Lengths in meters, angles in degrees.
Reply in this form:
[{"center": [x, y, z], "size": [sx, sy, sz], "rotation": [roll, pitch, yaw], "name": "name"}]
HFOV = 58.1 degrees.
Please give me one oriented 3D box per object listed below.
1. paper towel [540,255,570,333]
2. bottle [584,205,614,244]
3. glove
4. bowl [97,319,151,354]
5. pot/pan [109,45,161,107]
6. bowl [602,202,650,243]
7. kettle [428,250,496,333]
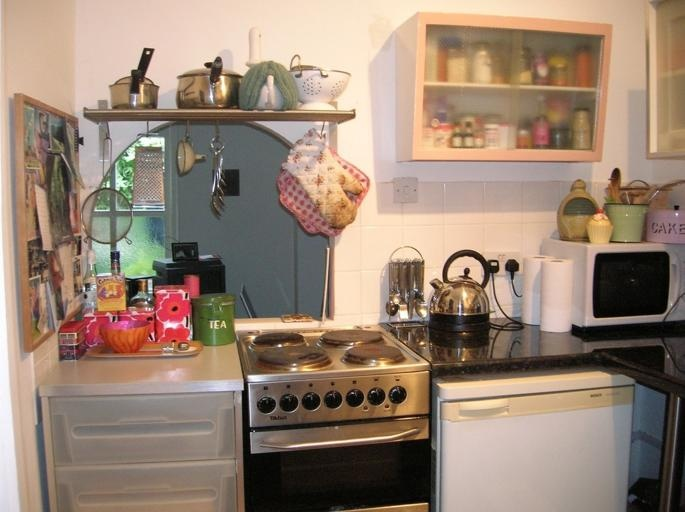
[{"center": [0.957, 0.185, 2.776], "size": [0.139, 0.316, 0.093], "rotation": [5, 14, 17], "name": "paper towel"}, {"center": [1.187, -0.137, 2.851], "size": [0.109, 0.140, 0.181], "rotation": [6, 15, 23], "name": "bottle"}, {"center": [-0.076, -0.310, 2.751], "size": [0.415, 0.500, 0.254], "rotation": [-2, 14, -11], "name": "glove"}, {"center": [-0.896, 0.331, 2.539], "size": [0.238, 0.146, 0.237], "rotation": [-3, 1, 0], "name": "bowl"}, {"center": [-0.852, -0.693, 2.408], "size": [0.183, 0.244, 0.254], "rotation": [-4, 14, -29], "name": "pot/pan"}, {"center": [1.294, -0.148, 2.832], "size": [0.175, 0.150, 0.194], "rotation": [2, 3, 28], "name": "bowl"}, {"center": [0.546, 0.140, 2.872], "size": [0.265, 0.335, 0.387], "rotation": [3, 14, 11], "name": "kettle"}]
